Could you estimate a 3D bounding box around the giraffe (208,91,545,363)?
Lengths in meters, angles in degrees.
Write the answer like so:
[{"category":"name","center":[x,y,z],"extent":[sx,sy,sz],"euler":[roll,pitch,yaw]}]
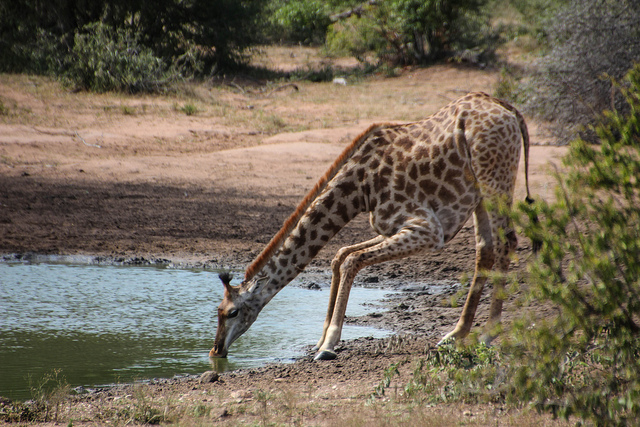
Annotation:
[{"category":"giraffe","center":[1.268,0.208,19.684],"extent":[5.260,4.878,1.554],"euler":[2,17,-7]}]
